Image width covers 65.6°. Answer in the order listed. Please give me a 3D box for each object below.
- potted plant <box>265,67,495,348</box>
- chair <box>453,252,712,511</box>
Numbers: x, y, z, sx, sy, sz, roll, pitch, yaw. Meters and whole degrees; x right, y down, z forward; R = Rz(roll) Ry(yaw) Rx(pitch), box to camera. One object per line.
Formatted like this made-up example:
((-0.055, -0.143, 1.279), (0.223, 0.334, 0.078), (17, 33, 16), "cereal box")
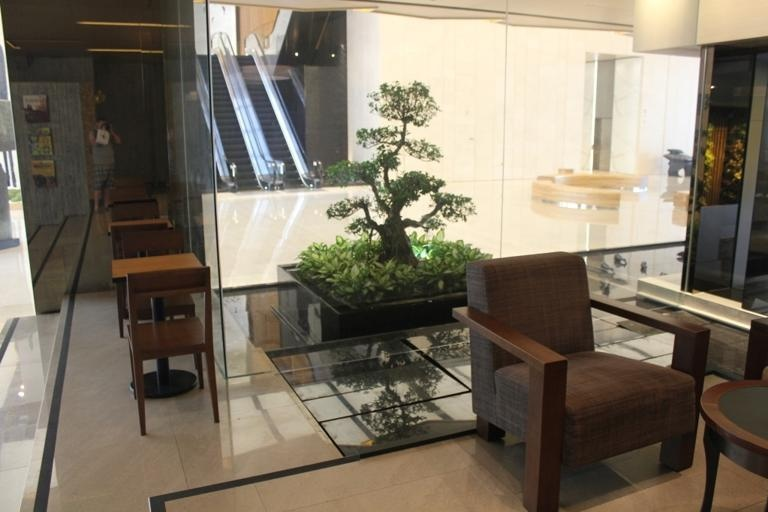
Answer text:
((-0.142, -0.507, 5.620), (2.417, 2.458, 1.402), (-6, 18, -23), "potted plant")
((1.270, 0.725, 3.927), (1.310, 1.377, 0.974), (-9, 15, -21), "chair")
